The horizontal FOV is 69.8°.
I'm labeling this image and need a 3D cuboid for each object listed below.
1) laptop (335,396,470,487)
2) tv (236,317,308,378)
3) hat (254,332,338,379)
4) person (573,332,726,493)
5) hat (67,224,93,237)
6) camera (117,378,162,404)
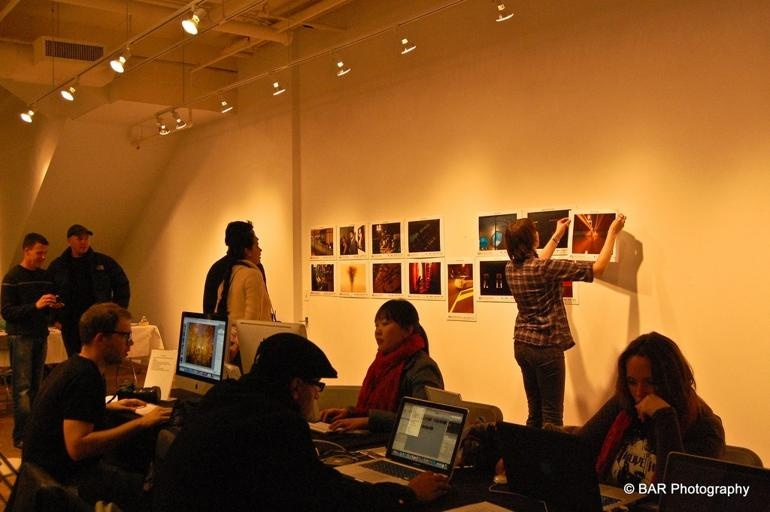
[{"bbox_3d":[0.164,1.047,3.078,0.467,0.348,0.482,5,2,45],"label":"laptop"},{"bbox_3d":[-0.868,0.585,4.203,0.585,0.577,0.471,0,-1,26],"label":"tv"},{"bbox_3d":[-0.440,0.472,2.666,0.306,0.149,0.232,2,-3,-14],"label":"hat"},{"bbox_3d":[1.615,1.147,3.411,0.614,1.168,0.787,9,-4,-27],"label":"person"},{"bbox_3d":[-3.664,-0.297,6.589,0.193,0.180,0.180,5,-7,-19],"label":"hat"},{"bbox_3d":[-1.940,1.080,4.400,0.272,0.120,0.171,3,-7,17],"label":"camera"}]
